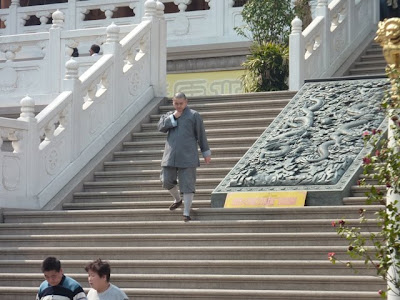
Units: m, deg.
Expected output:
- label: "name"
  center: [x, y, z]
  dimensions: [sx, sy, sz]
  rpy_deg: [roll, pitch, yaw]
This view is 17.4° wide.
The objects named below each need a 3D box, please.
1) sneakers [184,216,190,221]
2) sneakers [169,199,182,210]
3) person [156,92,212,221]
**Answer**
- label: "sneakers"
  center: [-0.241, 1.198, 23.003]
  dimensions: [0.109, 0.094, 0.183]
  rpy_deg: [-2, 5, 4]
- label: "sneakers"
  center: [-0.446, 0.984, 23.409]
  dimensions: [0.104, 0.121, 0.306]
  rpy_deg: [21, 41, 38]
- label: "person"
  center: [-0.347, 0.087, 23.341]
  dimensions: [0.786, 2.137, 0.657]
  rpy_deg: [3, 7, 43]
